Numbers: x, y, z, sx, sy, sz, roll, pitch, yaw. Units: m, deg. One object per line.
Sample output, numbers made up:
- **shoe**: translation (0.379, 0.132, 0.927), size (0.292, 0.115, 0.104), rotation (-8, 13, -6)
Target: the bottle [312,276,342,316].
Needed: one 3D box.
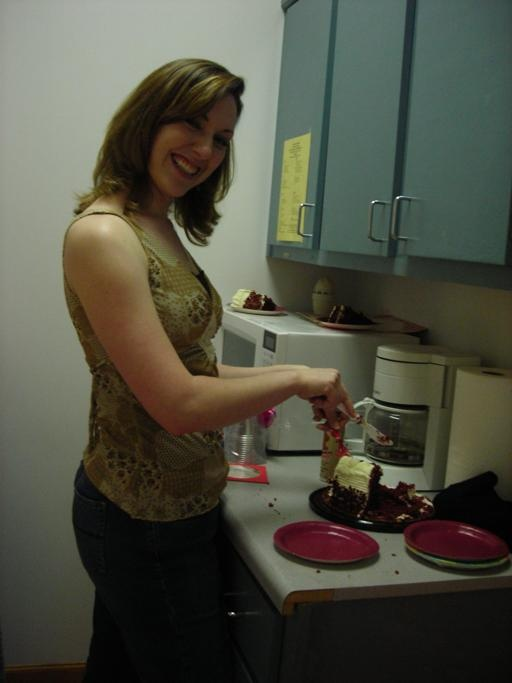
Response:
- **bottle**: translation (0.209, -0.134, 1.893), size (0.118, 0.164, 0.106), rotation (0, 9, 4)

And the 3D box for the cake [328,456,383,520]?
- **cake**: translation (0.192, 0.274, 1.171), size (0.089, 0.127, 0.103), rotation (-2, -10, 25)

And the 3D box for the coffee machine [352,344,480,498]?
- **coffee machine**: translation (0.300, 0.171, 1.406), size (0.218, 0.280, 0.249), rotation (-3, -14, 40)

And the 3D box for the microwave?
- **microwave**: translation (0.161, 0.110, 1.664), size (0.394, 0.304, 0.508), rotation (0, 4, -12)

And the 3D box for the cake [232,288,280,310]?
- **cake**: translation (0.004, -0.122, 1.887), size (0.108, 0.035, 0.069), rotation (6, 0, 0)
